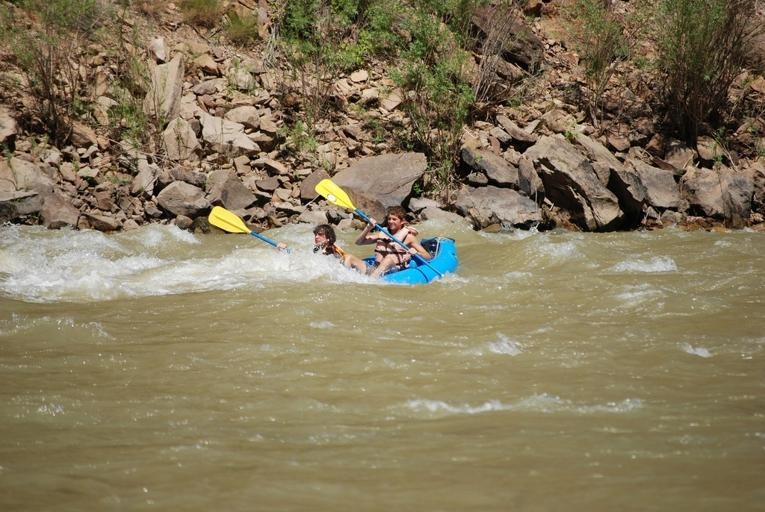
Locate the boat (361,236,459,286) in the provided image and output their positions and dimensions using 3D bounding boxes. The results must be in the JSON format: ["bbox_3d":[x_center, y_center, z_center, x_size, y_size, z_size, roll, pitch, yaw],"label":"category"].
[{"bbox_3d":[0.728,0.161,15.970,1.487,0.431,0.777,-15,21,-43],"label":"boat"}]

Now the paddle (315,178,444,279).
[{"bbox_3d":[-0.092,-0.449,16.379,2.971,0.333,0.110,36,64,26],"label":"paddle"}]

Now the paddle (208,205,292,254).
[{"bbox_3d":[-2.514,-0.447,17.531,2.219,0.385,0.178,23,1,29],"label":"paddle"}]
